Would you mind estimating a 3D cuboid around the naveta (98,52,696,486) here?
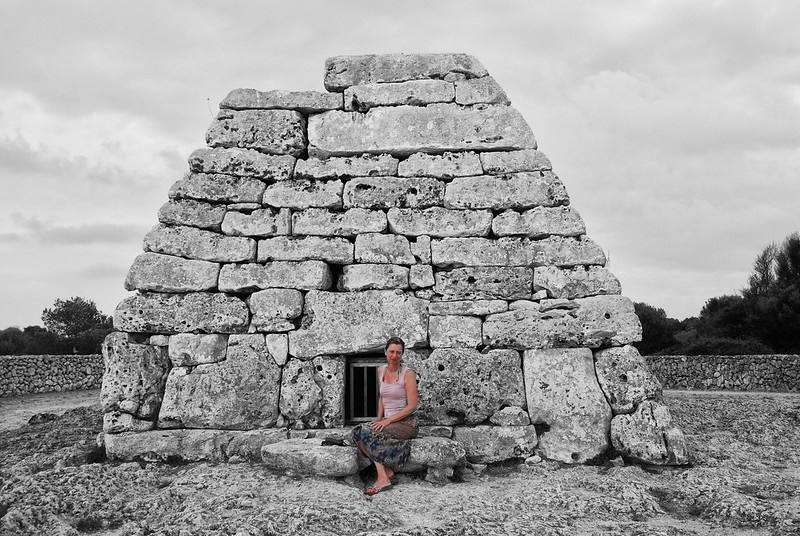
[{"bbox_3d":[-0.295,-0.306,9.931,7.074,5.730,2.779,1,8,-4],"label":"naveta"}]
